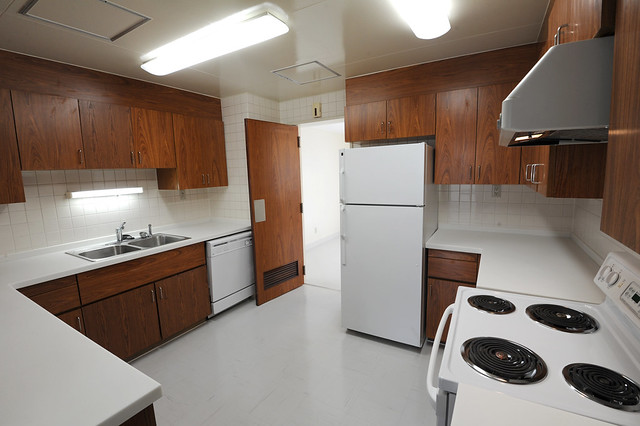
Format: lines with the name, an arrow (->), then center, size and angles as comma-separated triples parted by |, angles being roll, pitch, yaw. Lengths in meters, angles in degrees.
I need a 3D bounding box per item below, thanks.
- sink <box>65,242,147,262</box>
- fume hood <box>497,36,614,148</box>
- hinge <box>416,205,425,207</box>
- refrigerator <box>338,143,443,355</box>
sink -> -2.147, 0.373, 3.693 | 0.300, 0.145, 0.361 | 7, 8, 34
fume hood -> 1.137, -0.710, 2.245 | 0.560, 0.404, 0.803 | -7, 14, -5
hinge -> 0.905, -0.067, 3.399 | 0.066, 0.013, 0.017 | -1, 12, 1
refrigerator -> 0.618, 0.311, 3.650 | 0.894, 1.932, 0.554 | 2, 13, 14
